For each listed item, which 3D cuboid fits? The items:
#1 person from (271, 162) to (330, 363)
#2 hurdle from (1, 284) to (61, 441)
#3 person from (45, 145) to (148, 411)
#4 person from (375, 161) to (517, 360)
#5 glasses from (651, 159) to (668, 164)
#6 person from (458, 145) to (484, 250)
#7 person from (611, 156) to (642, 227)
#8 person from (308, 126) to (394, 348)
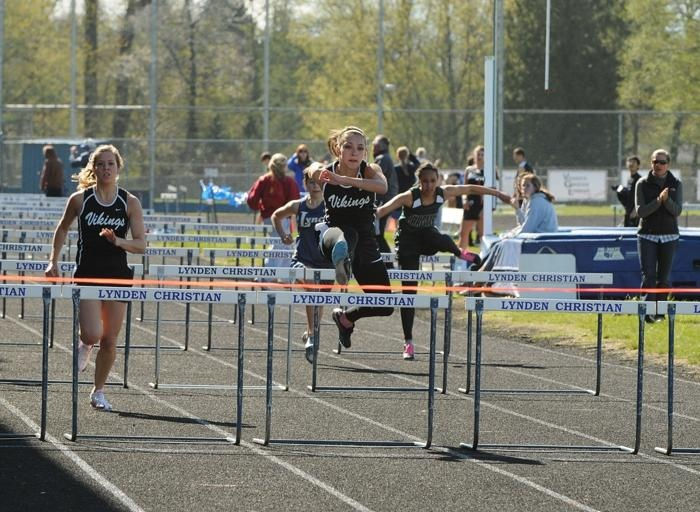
[{"bbox_3d":[-0.645,0.059,16.689,0.692,2.403,0.629,0,12,-11],"label":"person"},{"bbox_3d":[-3.305,0.979,13.369,0.774,1.403,0.568,4,14,-10],"label":"hurdle"},{"bbox_3d":[-2.796,0.048,13.932,0.936,3.103,1.042,1,10,-16],"label":"person"},{"bbox_3d":[1.103,-0.127,16.670,1.135,2.954,1.330,0,1,-24],"label":"person"},{"bbox_3d":[4.509,-1.350,18.423,0.215,0.079,0.208,3,4,11],"label":"glasses"},{"bbox_3d":[2.513,-1.064,25.101,0.509,2.093,0.628,4,13,-4],"label":"person"},{"bbox_3d":[5.247,-1.099,23.514,0.525,1.996,0.647,-1,12,0],"label":"person"},{"bbox_3d":[0.024,-0.232,14.600,0.795,2.532,0.879,2,10,-11],"label":"person"}]
